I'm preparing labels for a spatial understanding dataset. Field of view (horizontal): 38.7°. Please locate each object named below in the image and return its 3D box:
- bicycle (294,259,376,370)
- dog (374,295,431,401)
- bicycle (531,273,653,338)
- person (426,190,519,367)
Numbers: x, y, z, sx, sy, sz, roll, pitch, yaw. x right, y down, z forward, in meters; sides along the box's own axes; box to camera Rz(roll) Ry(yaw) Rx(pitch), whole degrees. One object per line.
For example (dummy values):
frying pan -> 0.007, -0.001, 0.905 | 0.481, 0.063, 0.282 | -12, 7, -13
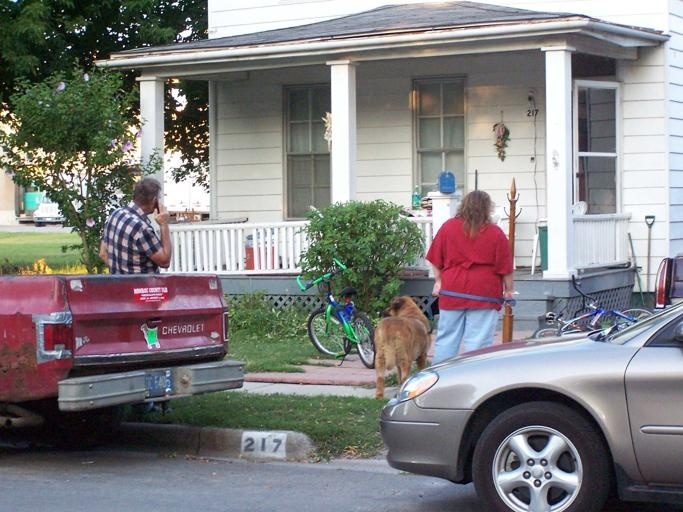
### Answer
bicycle -> -0.083, 0.781, 13.601 | 0.824, 1.313, 2.241 | -6, 9, -4
dog -> 0.702, 1.083, 11.225 | 0.451, 1.132, 1.339 | -3, -1, 20
bicycle -> 3.306, 0.650, 13.252 | 0.996, 0.647, 0.646 | -5, 14, -15
person -> 1.313, 0.283, 10.365 | 0.820, 2.168, 0.574 | 5, 21, 8
